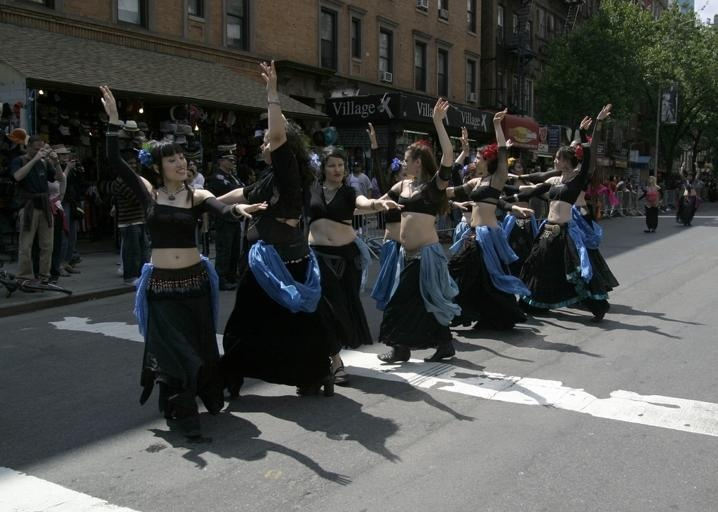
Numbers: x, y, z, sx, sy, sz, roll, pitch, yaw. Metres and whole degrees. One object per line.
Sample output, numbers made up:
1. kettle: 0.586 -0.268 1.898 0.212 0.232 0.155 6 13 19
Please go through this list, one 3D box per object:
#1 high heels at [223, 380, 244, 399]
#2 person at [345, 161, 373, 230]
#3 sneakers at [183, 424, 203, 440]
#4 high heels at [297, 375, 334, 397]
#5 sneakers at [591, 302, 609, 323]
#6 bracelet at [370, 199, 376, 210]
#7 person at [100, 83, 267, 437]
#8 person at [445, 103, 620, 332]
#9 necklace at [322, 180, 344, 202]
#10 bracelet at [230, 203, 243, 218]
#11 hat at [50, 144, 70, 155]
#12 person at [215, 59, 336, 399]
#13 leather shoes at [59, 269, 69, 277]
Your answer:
1. high heels: -1.199 1.251 5.631 0.201 0.217 0.173 7 0 -23
2. person: -0.099 -1.558 15.872 0.803 2.145 0.637 -1 -29 6
3. sneakers: -1.332 1.403 4.742 0.118 0.119 0.130 -1 -10 10
4. high heels: -0.418 1.235 5.658 0.319 0.145 0.181 2 -1 -13
5. sneakers: 3.462 0.799 8.522 0.283 0.298 0.160 -4 10 -26
6. bracelet: 0.134 -0.496 5.907 0.026 0.077 0.056 2 6 -10
7. person: -1.529 0.116 5.017 0.706 2.754 1.053 -8 12 -42
8. person: 2.990 -0.613 8.669 1.299 3.091 0.849 3 9 18
9. necklace: -0.277 -0.639 6.133 0.155 0.222 0.114 -2 -10 12
10. bracelet: -1.015 -0.364 4.876 0.123 0.081 0.165 -2 4 -5
11. hat: -5.822 -2.054 11.574 0.435 0.195 0.477 -2 2 -23
12. person: -0.860 -0.148 5.636 1.125 2.958 0.966 -3 -3 26
13. leather shoes: -5.772 0.348 11.566 0.099 0.129 0.285 -13 5 -38
